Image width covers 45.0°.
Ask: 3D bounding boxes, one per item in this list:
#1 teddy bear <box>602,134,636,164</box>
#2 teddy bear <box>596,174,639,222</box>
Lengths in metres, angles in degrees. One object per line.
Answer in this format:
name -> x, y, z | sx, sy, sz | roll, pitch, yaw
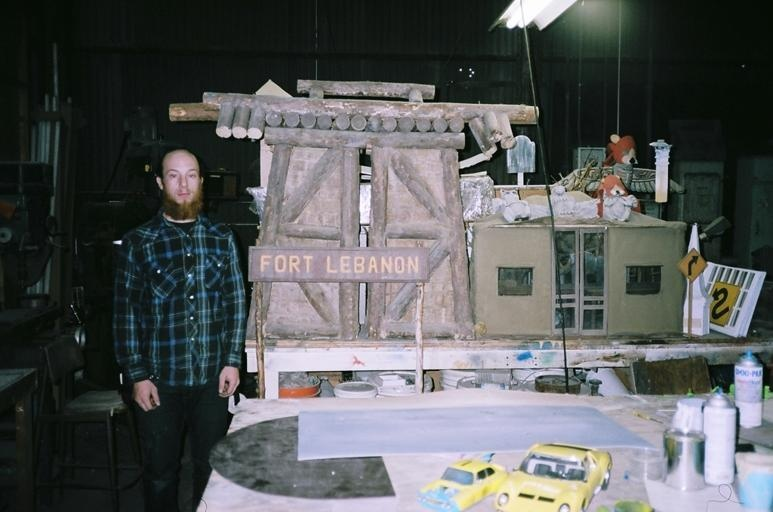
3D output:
teddy bear -> 3.661, -1.674, 14.832 | 0.512, 0.522, 0.535 | -3, 8, -11
teddy bear -> 3.324, -0.849, 13.502 | 0.251, 0.616, 0.633 | -6, 3, -18
